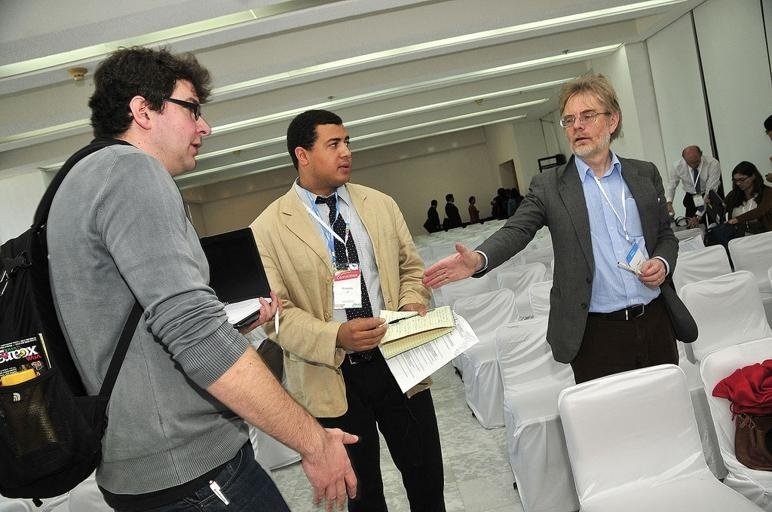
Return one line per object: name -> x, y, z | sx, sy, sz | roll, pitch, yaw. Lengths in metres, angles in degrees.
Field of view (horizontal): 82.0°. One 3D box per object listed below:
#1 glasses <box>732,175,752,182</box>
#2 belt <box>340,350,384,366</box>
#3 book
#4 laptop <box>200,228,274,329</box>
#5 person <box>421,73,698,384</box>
glasses -> 5.296, -1.137, 6.575 | 0.122, 0.040, 0.122 | 9, -6, -19
belt -> -0.107, 0.472, 2.038 | 0.105, 0.047, 0.101 | -14, -9, 29
book -> 0.151, 0.316, 1.904 | 0.252, 0.095, 0.199 | -19, 33, 7
laptop -> -0.611, 0.100, 1.830 | 0.330, 0.285, 0.267 | -17, 17, 9
person -> 1.030, -0.146, 2.429 | 1.165, 1.658, 0.542 | -9, 5, 3
